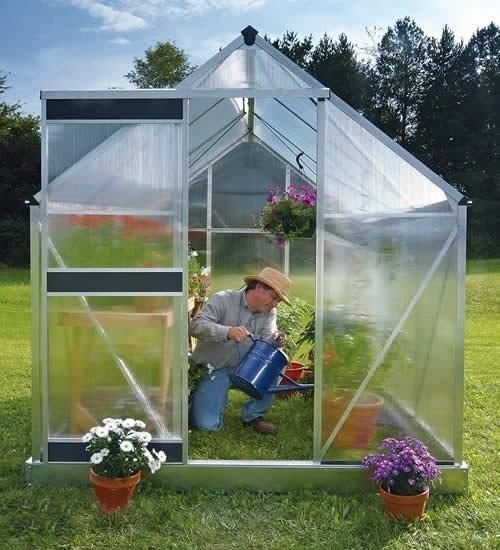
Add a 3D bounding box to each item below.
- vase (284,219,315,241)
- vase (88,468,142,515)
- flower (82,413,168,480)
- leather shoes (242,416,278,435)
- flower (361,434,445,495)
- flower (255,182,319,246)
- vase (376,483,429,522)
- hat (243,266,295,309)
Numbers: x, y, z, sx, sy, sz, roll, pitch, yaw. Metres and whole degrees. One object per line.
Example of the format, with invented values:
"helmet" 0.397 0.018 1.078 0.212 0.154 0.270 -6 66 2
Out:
"vase" 0.401 -0.381 5.860 0.191 0.139 0.046 -1 4 17
"vase" -0.782 1.242 4.125 0.231 0.182 0.235 2 -11 1
"flower" -0.736 1.040 4.206 0.457 0.318 0.273 0 14 -1
"leather shoes" 0.086 1.110 5.289 0.096 0.071 0.250 -8 0 -34
"flower" 0.895 1.121 4.216 0.380 0.245 0.336 -3 15 -13
"flower" 0.358 -0.425 5.987 0.284 0.510 0.522 8 34 -18
"vase" 0.906 1.331 4.155 0.289 0.173 0.136 -2 14 -10
"hat" 0.130 0.095 5.257 0.330 0.245 0.382 3 15 10
